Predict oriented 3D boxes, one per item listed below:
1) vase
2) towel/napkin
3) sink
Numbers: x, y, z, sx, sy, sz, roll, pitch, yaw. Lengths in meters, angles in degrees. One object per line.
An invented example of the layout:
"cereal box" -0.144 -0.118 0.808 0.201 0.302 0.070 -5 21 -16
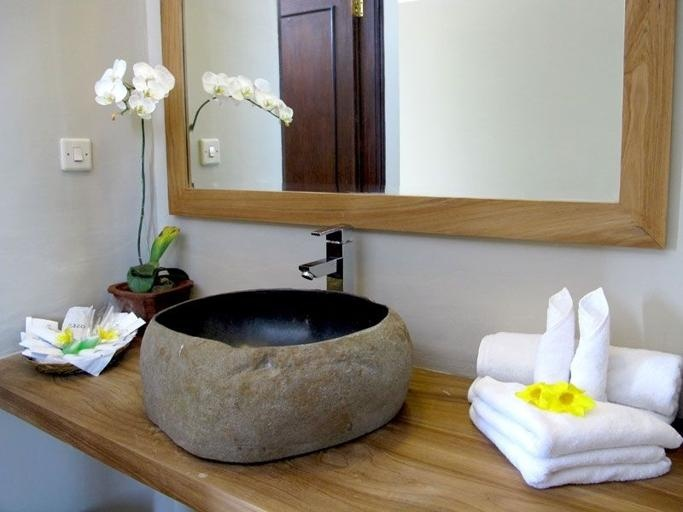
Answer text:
"vase" -0.611 0.153 1.705 0.220 0.100 0.258 17 5 37
"towel/napkin" 0.493 0.207 1.042 0.356 0.134 0.371 -4 5 -23
"sink" -0.168 0.252 1.217 0.530 0.241 0.509 -10 15 -32
